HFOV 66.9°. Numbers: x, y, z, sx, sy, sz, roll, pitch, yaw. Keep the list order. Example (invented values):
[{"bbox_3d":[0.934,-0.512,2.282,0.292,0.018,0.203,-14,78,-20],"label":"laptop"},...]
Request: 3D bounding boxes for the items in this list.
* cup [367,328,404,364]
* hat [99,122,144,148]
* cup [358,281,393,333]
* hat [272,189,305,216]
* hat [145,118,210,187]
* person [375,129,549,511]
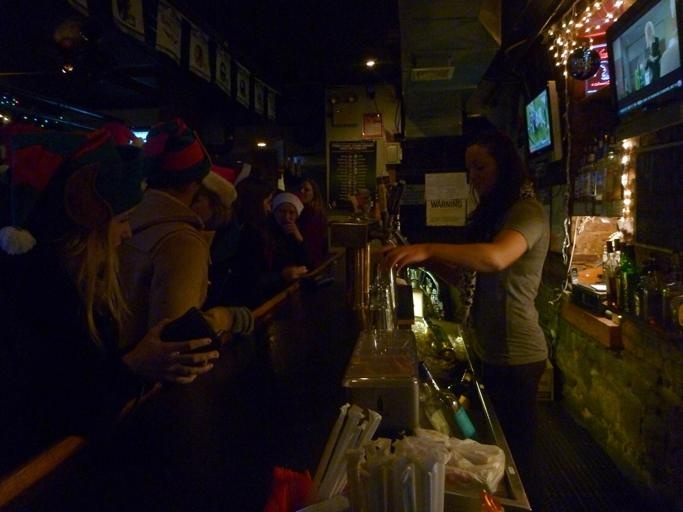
[{"bbox_3d":[0.178,0.326,2.065,0.141,0.093,0.241,2,5,4],"label":"cup"},{"bbox_3d":[-0.785,-0.429,1.838,0.089,0.044,0.117,3,12,-41],"label":"hat"},{"bbox_3d":[0.149,0.203,2.114,0.154,0.258,0.164,-1,2,0],"label":"cup"},{"bbox_3d":[-0.287,-0.286,2.787,0.099,0.132,0.069,2,50,11],"label":"hat"},{"bbox_3d":[-0.648,-0.403,2.022,0.179,0.177,0.263,6,30,9],"label":"hat"},{"bbox_3d":[0.726,0.320,2.509,0.556,1.849,0.977,4,6,21],"label":"person"}]
